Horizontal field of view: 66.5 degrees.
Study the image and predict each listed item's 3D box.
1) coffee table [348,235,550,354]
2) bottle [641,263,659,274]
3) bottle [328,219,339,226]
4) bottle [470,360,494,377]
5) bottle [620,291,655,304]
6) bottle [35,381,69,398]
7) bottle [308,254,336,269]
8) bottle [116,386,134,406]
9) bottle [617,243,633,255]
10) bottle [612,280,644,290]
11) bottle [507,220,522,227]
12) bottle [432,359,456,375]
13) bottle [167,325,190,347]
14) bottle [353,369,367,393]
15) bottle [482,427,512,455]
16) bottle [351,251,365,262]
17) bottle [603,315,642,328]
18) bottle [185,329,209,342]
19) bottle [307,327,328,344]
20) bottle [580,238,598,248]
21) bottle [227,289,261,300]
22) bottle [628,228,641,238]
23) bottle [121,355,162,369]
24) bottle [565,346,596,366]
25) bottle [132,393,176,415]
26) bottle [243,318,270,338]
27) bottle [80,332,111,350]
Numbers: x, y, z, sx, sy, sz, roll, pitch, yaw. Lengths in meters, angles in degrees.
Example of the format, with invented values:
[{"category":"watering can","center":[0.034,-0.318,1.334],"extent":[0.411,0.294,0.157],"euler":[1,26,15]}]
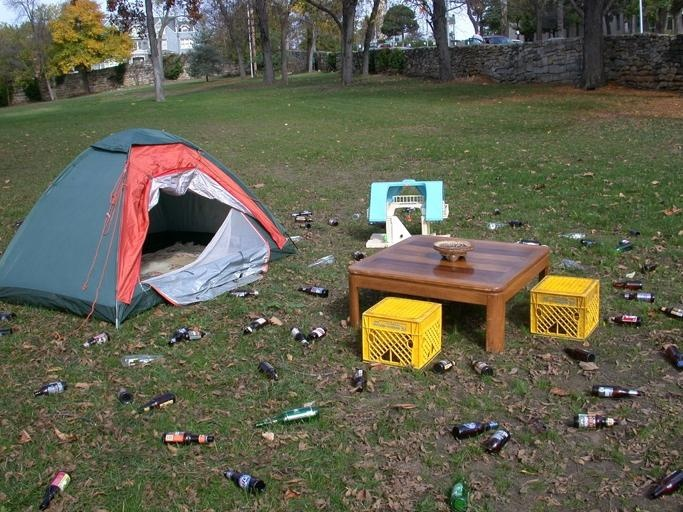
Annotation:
[{"category":"coffee table","center":[1.286,0.284,6.240],"extent":[2.091,0.958,1.576],"euler":[6,20,27]},{"category":"bottle","center":[4.149,0.139,6.999],"extent":[0.128,0.061,0.171],"euler":[-14,10,37]},{"category":"bottle","center":[-0.147,-0.640,9.799],"extent":[0.205,0.100,0.247],"euler":[-3,18,-1]},{"category":"bottle","center":[1.432,1.122,5.294],"extent":[0.260,0.090,0.191],"euler":[10,22,35]},{"category":"bottle","center":[3.626,0.477,6.342],"extent":[0.326,0.133,0.125],"euler":[4,11,19]},{"category":"bottle","center":[-3.009,1.359,5.377],"extent":[0.290,0.070,0.182],"euler":[-8,19,-16]},{"category":"bottle","center":[-0.291,0.088,8.083],"extent":[0.192,0.088,0.290],"euler":[24,29,30]},{"category":"bottle","center":[-2.179,1.400,5.228],"extent":[0.100,0.058,0.177],"euler":[-3,24,-29]},{"category":"bottle","center":[4.228,-0.129,7.724],"extent":[0.333,0.090,0.138],"euler":[-12,19,-25]},{"category":"bottle","center":[3.703,0.345,6.697],"extent":[0.348,0.084,0.255],"euler":[8,21,30]},{"category":"bottle","center":[3.034,-0.564,9.012],"extent":[0.244,0.070,0.202],"euler":[3,19,17]},{"category":"bottle","center":[1.064,1.123,5.356],"extent":[0.111,0.090,0.205],"euler":[-27,-11,33]},{"category":"bottle","center":[-1.953,0.940,6.237],"extent":[0.241,0.089,0.342],"euler":[-6,18,-10]},{"category":"bottle","center":[0.189,1.259,5.214],"extent":[0.137,0.128,0.339],"euler":[-3,12,2]},{"category":"bottle","center":[1.340,1.568,4.441],"extent":[0.166,0.175,0.427],"euler":[-20,-3,27]},{"category":"bottle","center":[0.270,-0.009,8.192],"extent":[0.113,0.091,0.179],"euler":[-11,12,-18]},{"category":"bottle","center":[3.225,0.727,5.898],"extent":[0.250,0.095,0.154],"euler":[5,21,33]},{"category":"bottle","center":[-1.752,0.939,6.205],"extent":[0.167,0.064,0.131],"euler":[5,25,1]},{"category":"bottle","center":[-0.284,0.905,6.094],"extent":[0.226,0.079,0.259],"euler":[-3,18,0]},{"category":"bottle","center":[3.817,-0.208,7.997],"extent":[0.246,0.067,0.253],"euler":[-3,18,1]},{"category":"bottle","center":[-1.337,0.509,7.224],"extent":[0.471,0.174,0.155],"euler":[2,6,8]},{"category":"bottle","center":[4.647,-0.370,8.258],"extent":[0.130,0.136,0.194],"euler":[-10,11,-15]},{"category":"bottle","center":[-2.253,1.171,5.813],"extent":[0.299,0.056,0.171],"euler":[0,25,-6]},{"category":"bottle","center":[2.493,0.993,5.408],"extent":[0.249,0.089,0.345],"euler":[-7,18,-14]},{"category":"bottle","center":[-1.810,1.432,5.110],"extent":[0.257,0.078,0.159],"euler":[-15,16,-21]},{"category":"bottle","center":[-1.036,0.843,6.360],"extent":[0.360,0.132,0.115],"euler":[-31,52,-31]},{"category":"bottle","center":[-2.937,1.011,6.195],"extent":[0.086,0.099,0.314],"euler":[-8,11,5]}]
